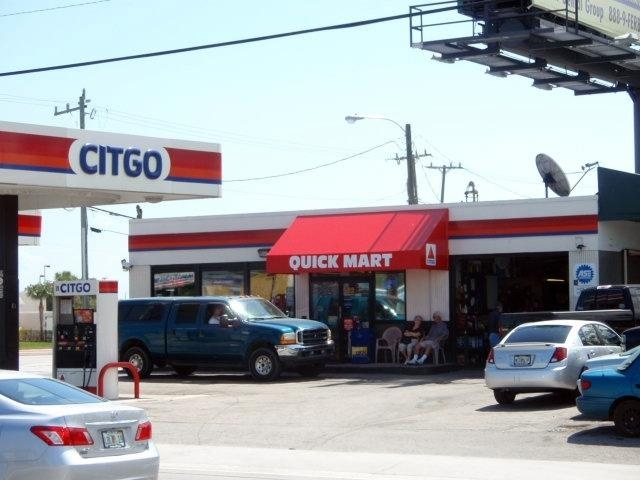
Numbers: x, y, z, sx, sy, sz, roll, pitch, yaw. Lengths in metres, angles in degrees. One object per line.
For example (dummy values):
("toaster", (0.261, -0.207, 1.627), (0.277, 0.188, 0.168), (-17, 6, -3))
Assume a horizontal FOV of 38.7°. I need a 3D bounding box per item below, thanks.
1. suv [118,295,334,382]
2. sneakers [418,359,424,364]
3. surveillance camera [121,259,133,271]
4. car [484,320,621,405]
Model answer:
("suv", (-3.005, 2.857, 26.818), (5.947, 2.439, 1.803), (-5, -7, 29))
("sneakers", (3.072, 3.678, 27.554), (0.190, 0.150, 0.402), (-2, -7, 7))
("surveillance camera", (-6.209, 0.813, 29.287), (0.389, 0.461, 0.528), (-1, -6, 6))
("car", (4.756, 2.563, 19.164), (1.409, 1.023, 3.112), (-4, 0, 32))
